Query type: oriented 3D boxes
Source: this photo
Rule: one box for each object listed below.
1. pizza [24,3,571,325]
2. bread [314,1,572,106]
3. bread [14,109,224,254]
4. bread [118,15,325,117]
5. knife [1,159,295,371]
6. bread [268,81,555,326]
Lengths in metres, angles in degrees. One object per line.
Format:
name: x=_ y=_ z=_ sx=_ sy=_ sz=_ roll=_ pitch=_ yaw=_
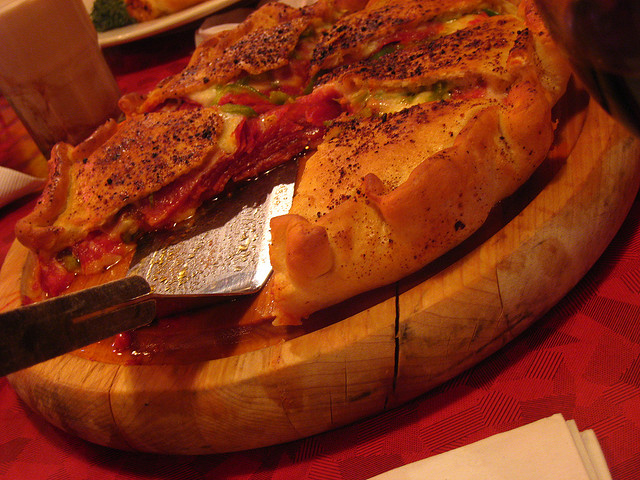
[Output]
pizza: x=0.014 y=-0.105 z=1.618 sx=1.027 sy=0.196 sz=0.889 roll=-23 pitch=33 yaw=-5
bread: x=0.303 y=-0.415 z=1.533 sx=0.344 sy=0.113 sz=0.296 roll=-5 pitch=31 yaw=20
bread: x=-0.499 y=-0.078 z=1.814 sx=0.498 sy=0.117 sz=0.332 roll=-35 pitch=49 yaw=-11
bread: x=-0.280 y=-0.509 z=1.985 sx=0.601 sy=0.094 sz=0.228 roll=-29 pitch=32 yaw=5
knife: x=-0.341 y=0.073 z=1.435 sx=0.546 sy=0.077 sz=0.288 roll=-36 pitch=36 yaw=-20
bread: x=0.219 y=-0.009 z=1.457 sx=0.606 sy=0.149 sz=0.435 roll=-32 pitch=38 yaw=11
